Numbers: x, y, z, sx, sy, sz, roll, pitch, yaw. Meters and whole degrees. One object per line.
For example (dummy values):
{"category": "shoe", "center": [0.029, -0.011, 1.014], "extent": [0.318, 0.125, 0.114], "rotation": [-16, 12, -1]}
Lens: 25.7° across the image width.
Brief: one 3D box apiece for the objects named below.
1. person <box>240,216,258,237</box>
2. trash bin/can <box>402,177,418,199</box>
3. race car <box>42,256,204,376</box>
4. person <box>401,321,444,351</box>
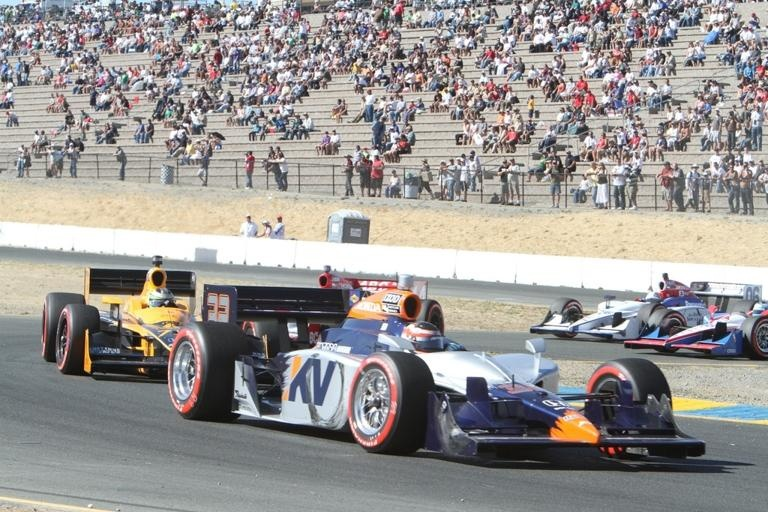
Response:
{"category": "person", "center": [-5.311, -1.204, 66.155], "extent": [0.599, 0.885, 1.812], "rotation": [-1, 2, -5]}
{"category": "trash bin/can", "center": [1.202, -2.886, 70.197], "extent": [0.593, 0.852, 0.825], "rotation": [1, 2, -7]}
{"category": "race car", "center": [-6.484, 2.041, 47.755], "extent": [5.852, 3.268, 8.769], "rotation": [6, 0, -18]}
{"category": "person", "center": [0.977, 2.071, 42.870], "extent": [0.924, 0.550, 0.655], "rotation": [16, 17, -13]}
